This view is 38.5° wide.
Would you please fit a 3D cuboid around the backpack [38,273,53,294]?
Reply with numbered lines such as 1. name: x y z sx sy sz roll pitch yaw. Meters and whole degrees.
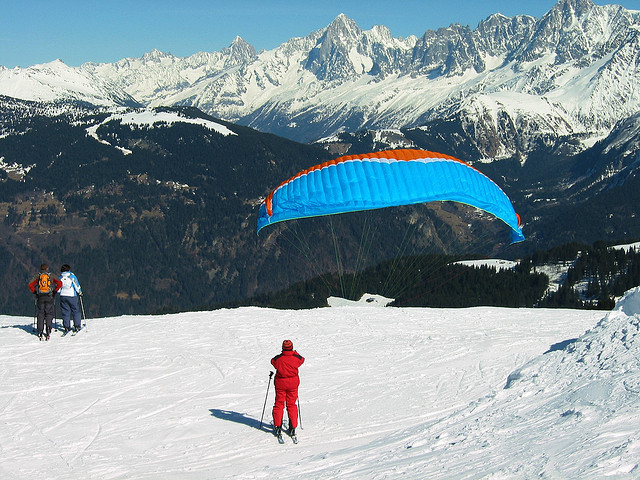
1. backpack: -12.150 1.929 40.715 0.608 0.932 0.426 0 1 -24

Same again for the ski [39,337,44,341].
1. ski: -12.637 4.520 41.752 0.096 0.180 0.059 -14 5 -32

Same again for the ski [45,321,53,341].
1. ski: -12.298 4.205 41.913 0.231 0.902 0.278 11 -10 -15

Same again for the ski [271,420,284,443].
1. ski: -1.625 7.381 35.232 0.261 0.971 0.289 -31 -24 -10

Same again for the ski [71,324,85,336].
1. ski: -11.380 4.237 43.699 0.553 0.082 0.165 -36 -43 16

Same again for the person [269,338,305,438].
1. person: -1.272 5.722 35.096 1.047 3.745 0.524 0 1 -3
